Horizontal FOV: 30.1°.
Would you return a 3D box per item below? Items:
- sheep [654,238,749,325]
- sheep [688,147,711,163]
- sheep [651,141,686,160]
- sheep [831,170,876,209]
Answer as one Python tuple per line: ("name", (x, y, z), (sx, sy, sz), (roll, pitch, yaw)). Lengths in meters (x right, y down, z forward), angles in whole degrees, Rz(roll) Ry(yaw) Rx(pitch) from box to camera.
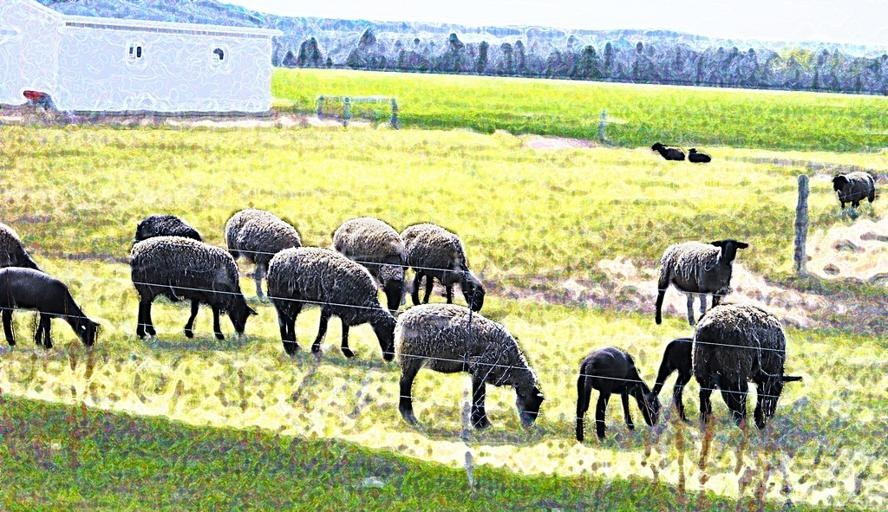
("sheep", (10.486, 0.790, 66.071), (2.773, 3.852, 4.254), (3, 3, 28))
("sheep", (12.749, -5.006, 81.697), (1.030, 0.501, 0.569), (-5, 18, -44))
("sheep", (11.186, -5.184, 81.809), (1.549, 0.701, 0.461), (11, 14, 33))
("sheep", (18.228, -2.937, 73.119), (1.972, 1.588, 1.036), (-4, 14, -34))
